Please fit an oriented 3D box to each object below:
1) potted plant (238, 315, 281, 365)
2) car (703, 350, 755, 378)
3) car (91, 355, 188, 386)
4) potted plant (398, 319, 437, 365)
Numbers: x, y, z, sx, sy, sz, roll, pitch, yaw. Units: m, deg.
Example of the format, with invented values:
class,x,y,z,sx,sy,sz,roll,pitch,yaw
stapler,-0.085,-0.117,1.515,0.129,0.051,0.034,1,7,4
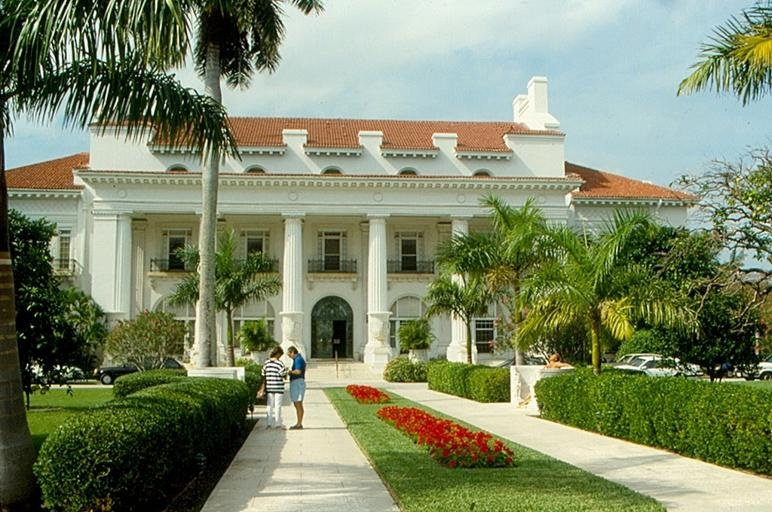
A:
class,x,y,z,sx,sy,sz,roll,pitch,yaw
potted plant,-6.585,4.484,47.052,1.791,2.199,1.736,5,-12,-32
car,12.463,3.943,32.880,1.606,0.906,2.836,-7,-10,39
car,-11.987,5.579,43.900,3.671,1.204,5.602,3,-9,-24
potted plant,1.506,4.413,47.545,2.197,2.837,2.331,-1,-1,7
